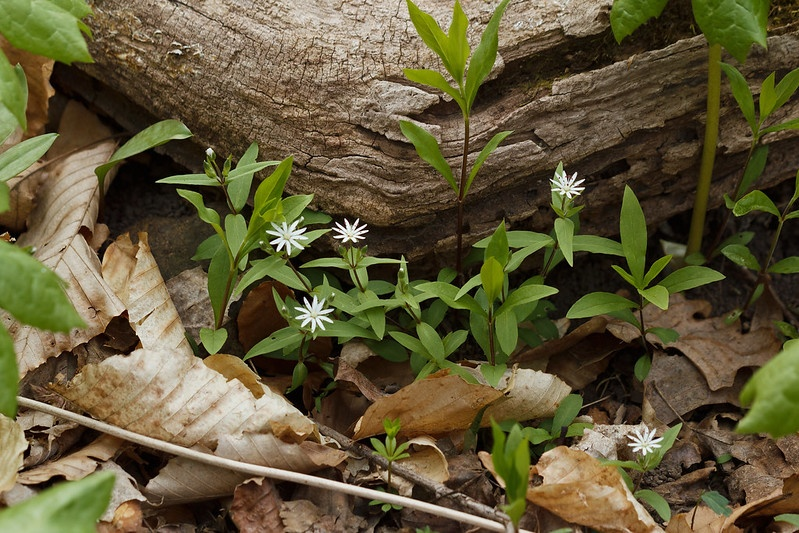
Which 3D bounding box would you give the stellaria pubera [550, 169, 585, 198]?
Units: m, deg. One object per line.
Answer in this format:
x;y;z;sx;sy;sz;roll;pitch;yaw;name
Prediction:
1.001;-0.452;4.936;0.169;0.066;0.231;5;68;-2;stellaria pubera

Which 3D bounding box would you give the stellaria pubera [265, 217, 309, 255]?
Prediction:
-0.630;-0.160;4.789;0.188;0.056;0.234;-22;76;-6;stellaria pubera
